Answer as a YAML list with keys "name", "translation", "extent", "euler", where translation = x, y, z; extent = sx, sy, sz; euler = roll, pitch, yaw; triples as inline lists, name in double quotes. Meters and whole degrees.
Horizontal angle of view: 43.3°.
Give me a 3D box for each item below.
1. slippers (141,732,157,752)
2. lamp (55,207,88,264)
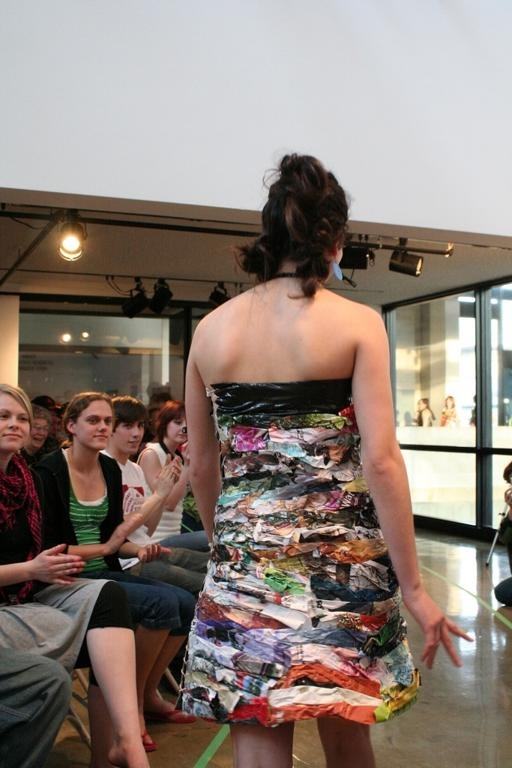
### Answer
- name: "slippers"
  translation: [-0.372, 1.245, 2.242]
  extent: [0.038, 0.042, 0.109]
  euler: [2, -17, -7]
- name: "lamp"
  translation: [-1.478, -1.227, 5.170]
  extent: [0.188, 0.383, 0.378]
  euler: [4, -5, -18]
